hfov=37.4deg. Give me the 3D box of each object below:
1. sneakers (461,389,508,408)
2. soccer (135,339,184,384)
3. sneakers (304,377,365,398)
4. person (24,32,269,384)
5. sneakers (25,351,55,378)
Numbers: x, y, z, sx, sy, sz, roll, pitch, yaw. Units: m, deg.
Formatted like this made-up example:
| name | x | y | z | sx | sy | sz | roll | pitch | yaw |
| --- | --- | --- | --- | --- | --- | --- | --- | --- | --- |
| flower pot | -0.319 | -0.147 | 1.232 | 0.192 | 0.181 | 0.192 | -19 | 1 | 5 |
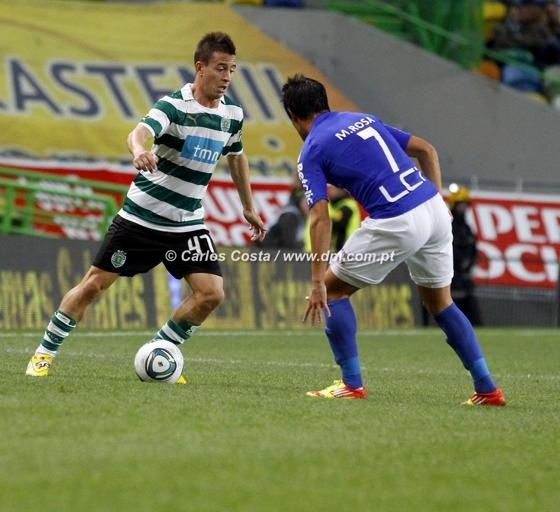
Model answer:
| name | x | y | z | sx | sy | sz | roll | pitch | yaw |
| --- | --- | --- | --- | --- | --- | --- | --- | --- | --- |
| sneakers | 1.145 | 0.797 | 4.653 | 0.258 | 0.120 | 0.096 | -1 | 1 | 6 |
| soccer | -0.749 | 0.669 | 5.071 | 0.288 | 0.321 | 0.237 | 2 | -12 | -17 |
| sneakers | 0.303 | 0.756 | 4.711 | 0.354 | 0.145 | 0.125 | 2 | -18 | -1 |
| person | -0.617 | -0.362 | 5.206 | 1.446 | 2.036 | 0.924 | 1 | -3 | -39 |
| sneakers | -1.478 | 0.660 | 5.029 | 0.165 | 0.173 | 0.101 | 14 | -16 | 48 |
